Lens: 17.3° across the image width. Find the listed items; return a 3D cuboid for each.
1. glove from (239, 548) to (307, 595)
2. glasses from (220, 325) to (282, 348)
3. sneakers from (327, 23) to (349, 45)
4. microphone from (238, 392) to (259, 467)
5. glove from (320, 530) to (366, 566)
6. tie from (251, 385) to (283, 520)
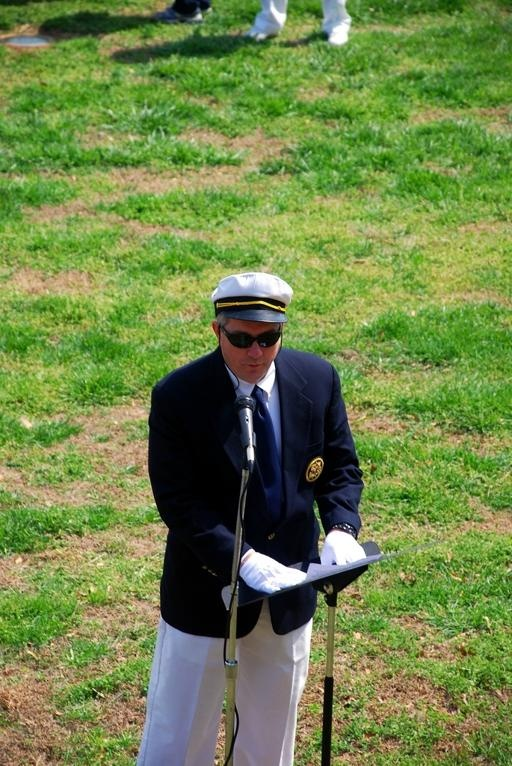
[{"bbox_3d":[0.082,1.239,11.260,0.388,0.120,0.234,23,54,23],"label":"glove"},{"bbox_3d":[-0.050,-0.306,11.450,0.419,0.152,0.105,4,11,4],"label":"glasses"},{"bbox_3d":[1.182,-5.028,24.544,0.151,0.181,0.651,-11,33,15],"label":"sneakers"},{"bbox_3d":[-0.072,0.330,11.060,0.122,0.451,0.235,2,11,-3],"label":"microphone"},{"bbox_3d":[0.584,1.145,11.462,0.299,0.209,0.325,4,11,2],"label":"glove"},{"bbox_3d":[0.075,0.484,11.501,0.154,0.918,0.131,-6,-12,2],"label":"tie"}]
